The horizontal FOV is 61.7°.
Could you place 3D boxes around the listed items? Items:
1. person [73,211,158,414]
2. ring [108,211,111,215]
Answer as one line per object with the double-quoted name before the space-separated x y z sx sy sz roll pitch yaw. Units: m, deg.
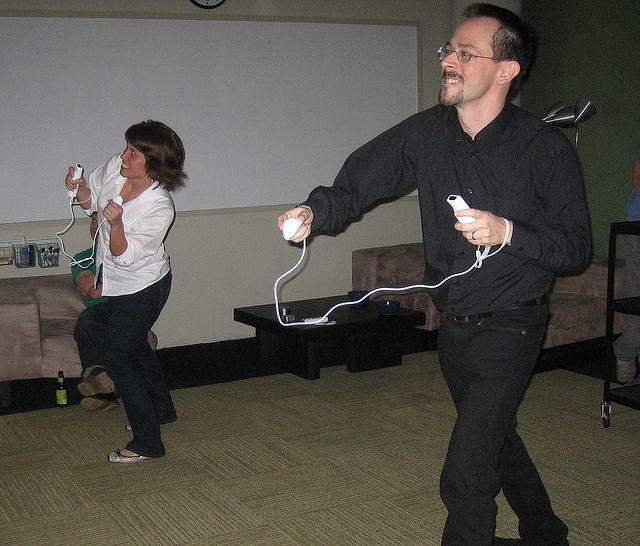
"person" -1.323 0.145 3.311 0.471 1.196 0.435 -6 -17 12
"ring" -0.987 -0.283 2.515 0.030 0.015 0.004 2 6 26
